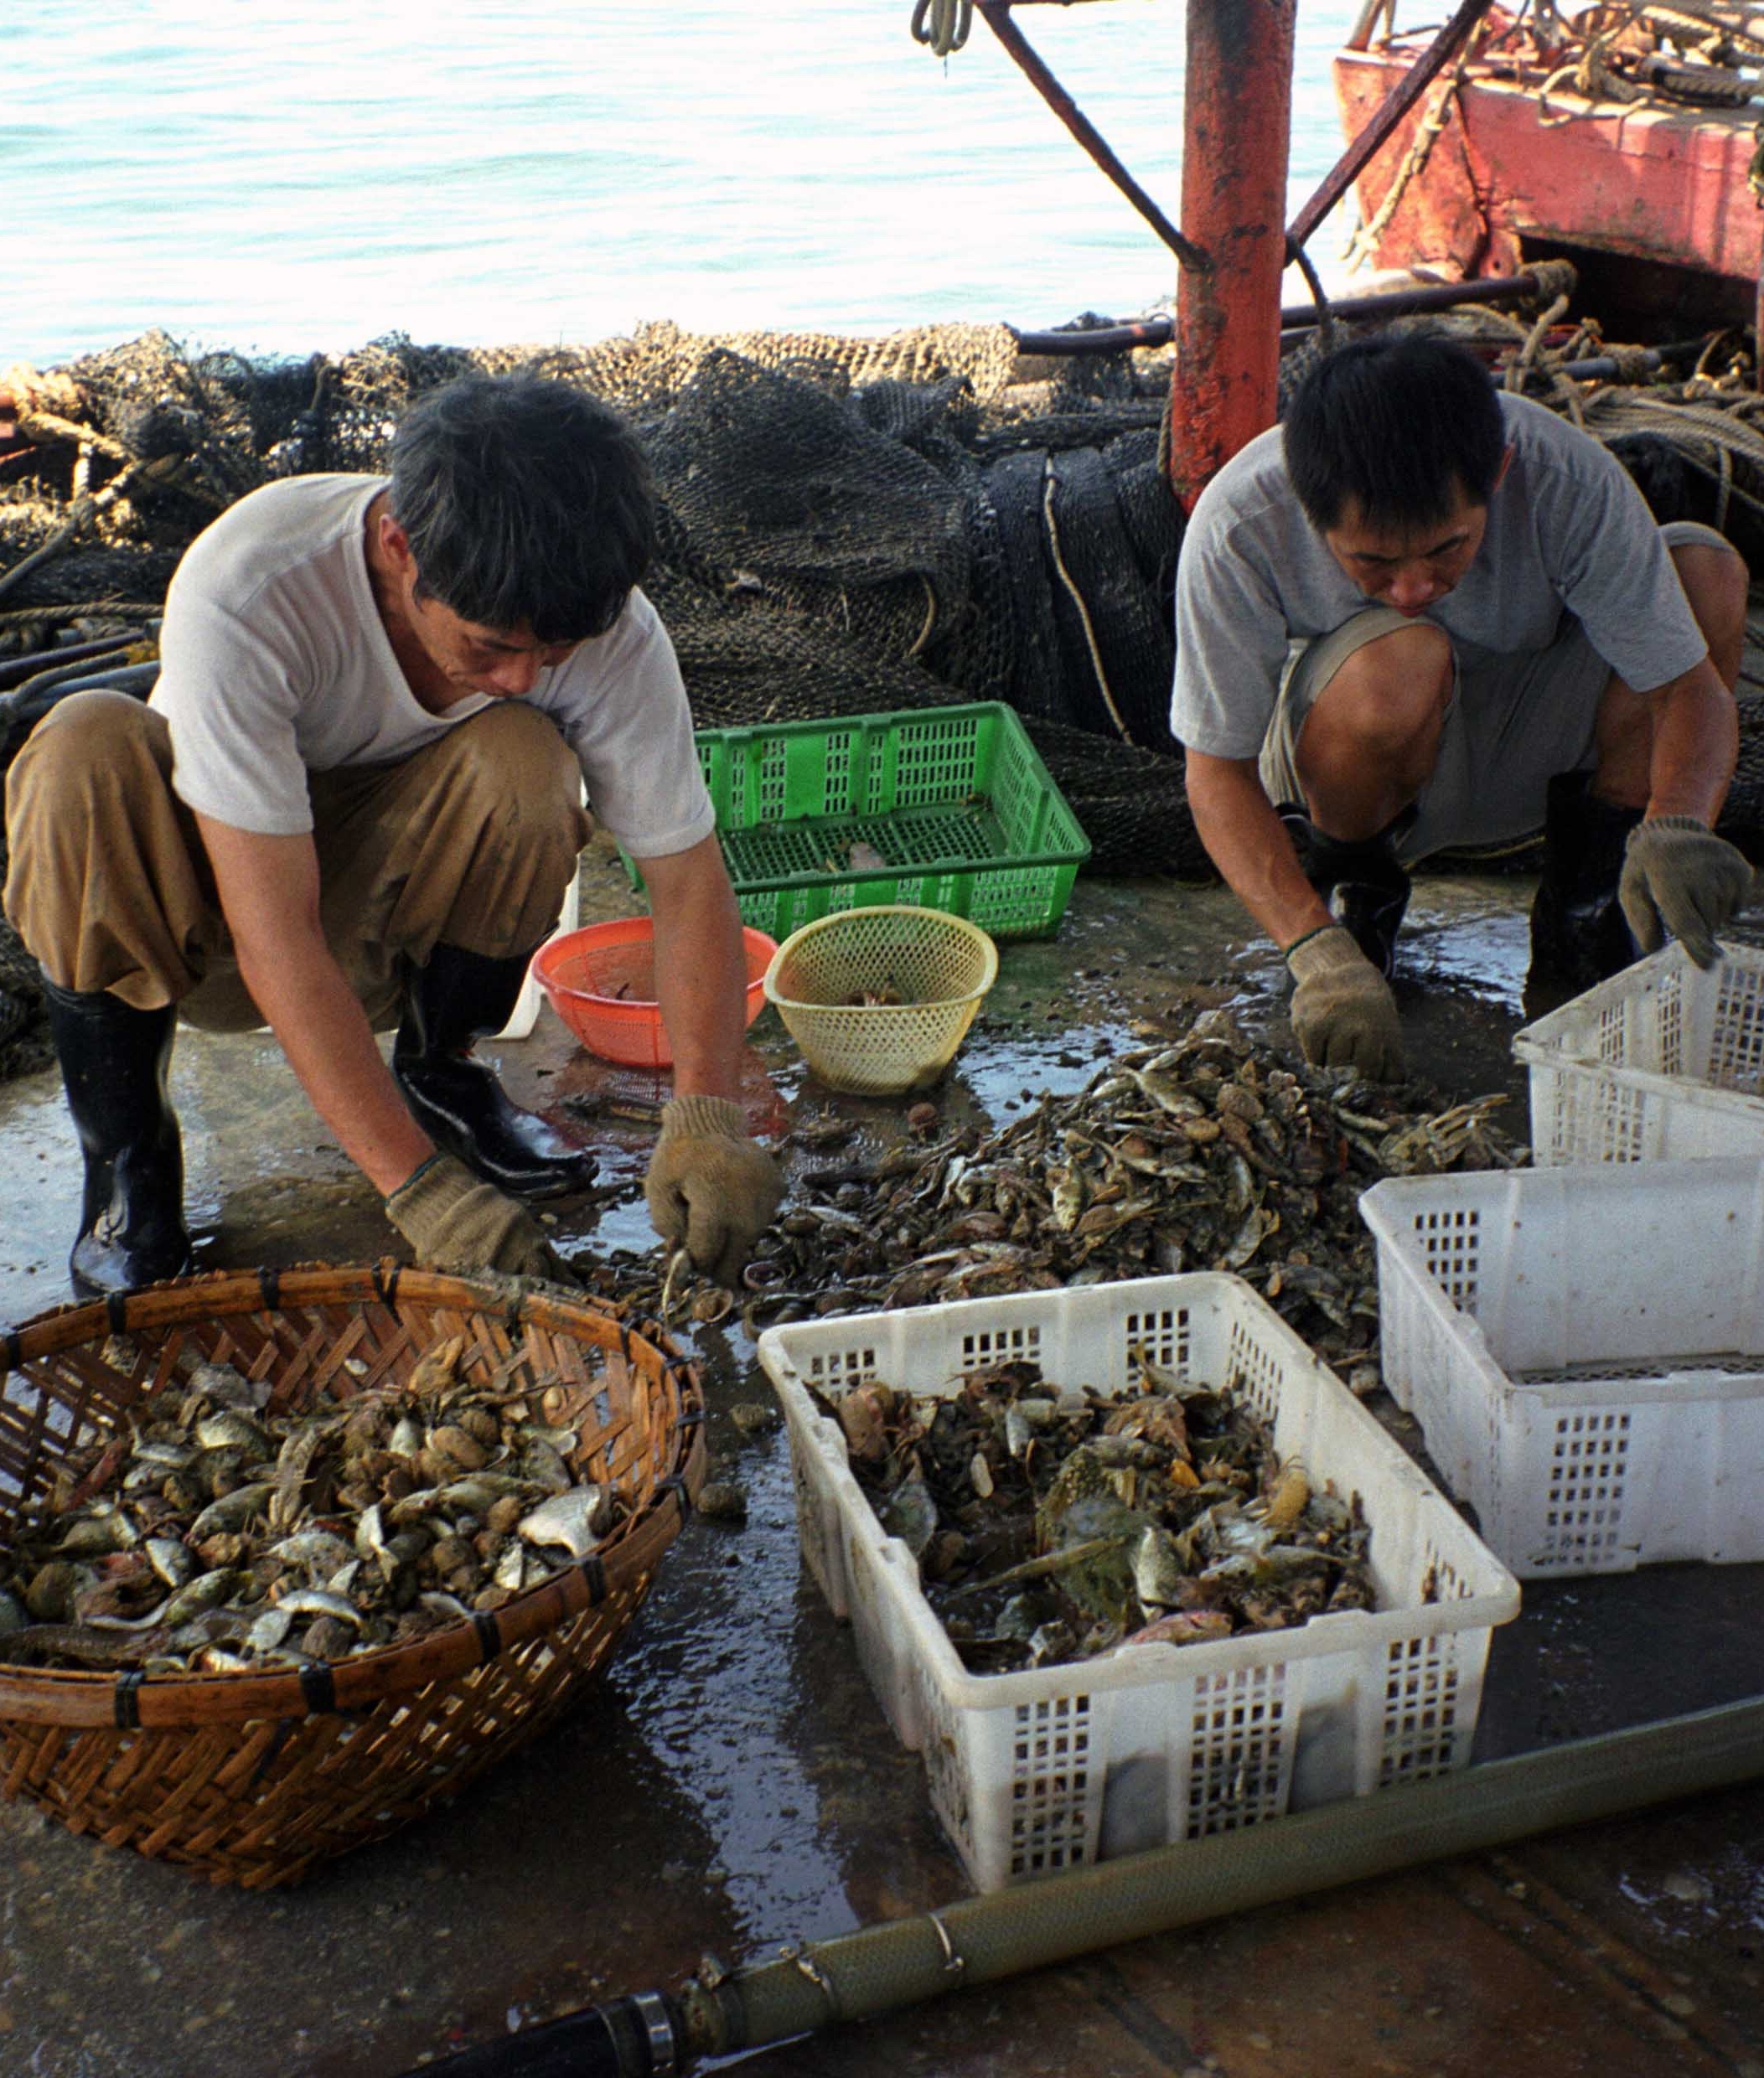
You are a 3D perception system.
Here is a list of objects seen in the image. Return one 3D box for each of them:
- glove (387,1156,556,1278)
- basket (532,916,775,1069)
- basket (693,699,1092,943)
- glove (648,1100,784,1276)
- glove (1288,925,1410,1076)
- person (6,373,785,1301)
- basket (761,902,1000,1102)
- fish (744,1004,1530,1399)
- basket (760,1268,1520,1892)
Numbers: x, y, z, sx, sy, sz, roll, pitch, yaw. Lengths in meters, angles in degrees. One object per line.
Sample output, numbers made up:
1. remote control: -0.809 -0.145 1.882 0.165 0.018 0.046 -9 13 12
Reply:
1. glove: -0.452 0.201 2.195 0.148 0.134 0.112 -10 17 -22
2. basket: -0.433 -0.111 3.364 0.362 0.108 0.319 8 22 19
3. basket: -0.030 -0.510 4.289 0.794 0.161 0.714 -7 -8 20
4. glove: -0.217 0.194 2.471 0.190 0.099 0.198 12 52 -22
5. glove: 0.685 -0.051 2.936 0.174 0.077 0.227 -11 43 4
6. person: -0.563 -0.210 2.471 0.953 1.103 0.702 10 22 40
7. basket: -0.006 -0.072 3.320 0.411 0.163 0.356 1 29 3
8. fish: 0.306 0.203 2.603 0.909 0.237 0.488 -8 33 -8
9. basket: 0.285 0.499 1.952 0.648 0.326 0.691 -7 14 -14
